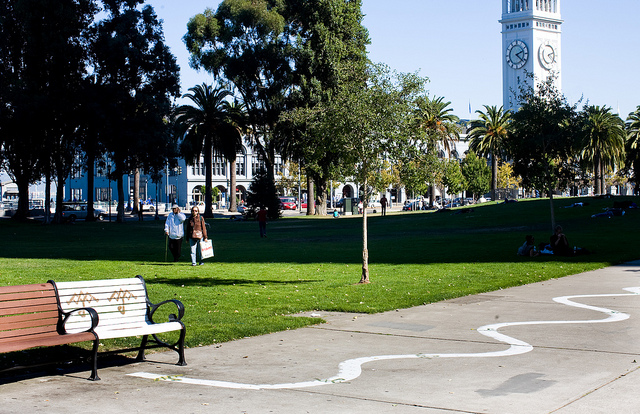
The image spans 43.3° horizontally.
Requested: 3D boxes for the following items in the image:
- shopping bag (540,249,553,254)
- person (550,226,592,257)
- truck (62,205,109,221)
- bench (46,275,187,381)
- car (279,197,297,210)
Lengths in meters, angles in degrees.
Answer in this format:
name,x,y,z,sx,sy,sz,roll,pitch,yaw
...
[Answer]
name,x,y,z,sx,sy,sz,roll,pitch,yaw
shopping bag,9.302,1.838,33.216,0.475,0.129,0.170,-2,-1,21
person,10.021,1.383,32.933,0.975,1.093,2.023,-8,4,-14
truck,-24.843,0.831,83.492,4.638,1.607,2.077,-2,1,-5
bench,-4.333,2.503,17.257,1.638,1.814,2.979,2,-3,25
car,-4.122,-0.595,117.208,1.594,1.207,2.531,1,-5,-32
